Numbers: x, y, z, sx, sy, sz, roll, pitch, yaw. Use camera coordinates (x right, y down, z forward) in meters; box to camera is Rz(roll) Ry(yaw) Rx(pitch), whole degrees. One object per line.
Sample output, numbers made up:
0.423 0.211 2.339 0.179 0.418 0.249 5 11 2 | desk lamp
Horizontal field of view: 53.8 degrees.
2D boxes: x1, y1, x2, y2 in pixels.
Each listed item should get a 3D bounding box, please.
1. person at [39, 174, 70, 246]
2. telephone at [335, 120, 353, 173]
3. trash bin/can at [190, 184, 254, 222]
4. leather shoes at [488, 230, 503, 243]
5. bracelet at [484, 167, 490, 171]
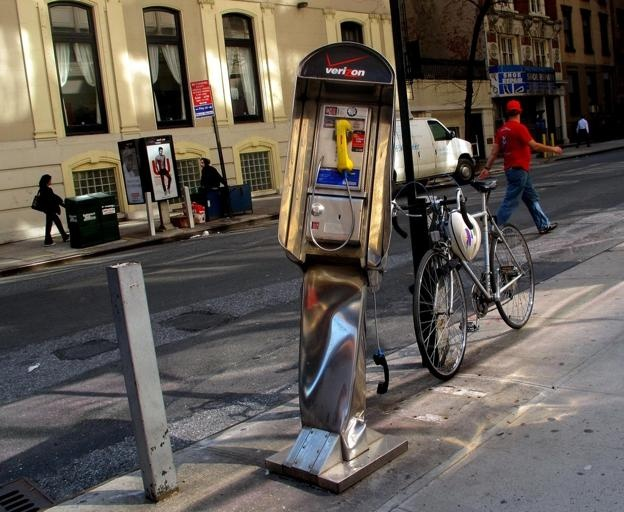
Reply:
-6.926 -1.255 16.563 0.633 1.868 1.303 -8 9 -23 | person
0.211 -0.719 4.018 0.112 0.340 0.098 -4 8 2 | telephone
-2.517 -1.576 18.131 1.577 0.916 0.398 -9 9 -24 | trash bin/can
1.663 -0.174 5.643 0.095 0.149 0.052 6 -13 -4 | leather shoes
2.415 -1.212 8.532 0.085 0.023 0.090 0 2 6 | bracelet
